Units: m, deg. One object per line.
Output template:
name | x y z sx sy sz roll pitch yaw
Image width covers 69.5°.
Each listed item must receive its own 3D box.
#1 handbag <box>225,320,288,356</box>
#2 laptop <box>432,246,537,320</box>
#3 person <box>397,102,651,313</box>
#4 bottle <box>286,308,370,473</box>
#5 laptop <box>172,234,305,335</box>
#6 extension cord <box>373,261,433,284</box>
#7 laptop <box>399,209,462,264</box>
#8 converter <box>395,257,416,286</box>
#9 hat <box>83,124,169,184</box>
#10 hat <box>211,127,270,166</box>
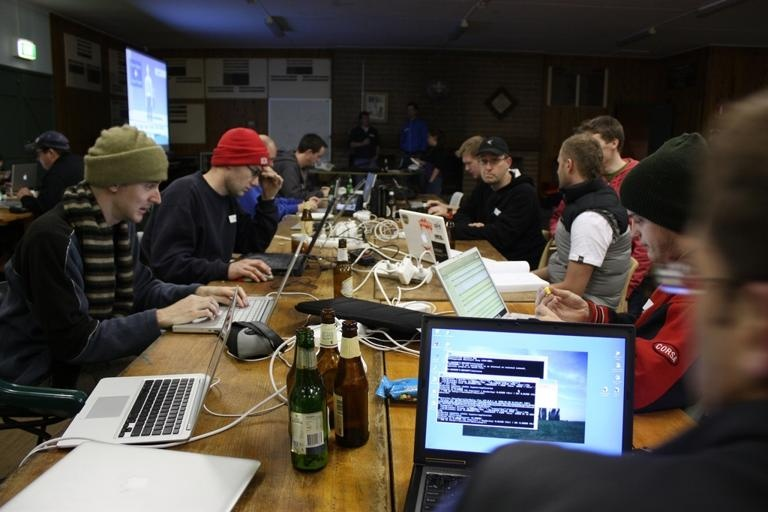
handbag | -0.414 0.246 1.727 0.138 0.063 0.104 0 10 -27
laptop | 0.333 0.046 1.874 0.275 0.182 0.297 1 8 35
person | 1.447 -0.326 3.974 1.372 0.629 1.924 10 16 34
bottle | -0.133 0.292 1.285 0.185 0.314 0.270 -3 1 -11
laptop | -0.553 0.075 2.040 0.355 0.246 0.401 3 8 5
extension cord | 0.077 0.061 2.583 0.222 0.089 0.126 7 35 23
laptop | 0.255 -0.114 2.899 0.271 0.238 0.348 -7 11 -33
converter | 0.097 0.075 2.560 0.053 0.088 0.100 -2 26 21
hat | -1.027 -0.406 2.216 0.305 0.220 0.224 -5 13 -27
hat | -0.778 -0.578 3.059 0.237 0.172 0.241 1 8 4
